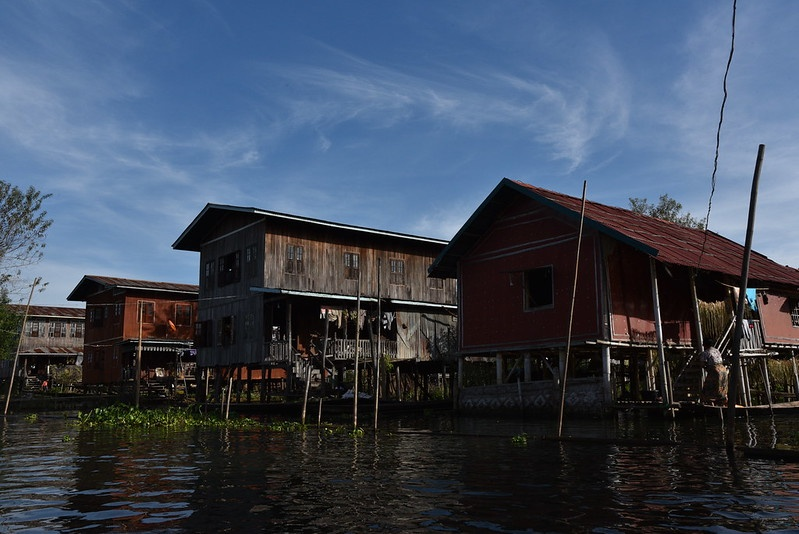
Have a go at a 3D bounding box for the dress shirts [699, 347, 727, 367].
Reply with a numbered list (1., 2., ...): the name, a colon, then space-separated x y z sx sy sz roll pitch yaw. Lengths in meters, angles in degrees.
1. dress shirts: 11.515 3.311 19.209 0.631 0.697 0.790 -8 -5 3

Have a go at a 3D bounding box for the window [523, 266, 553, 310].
1. window: 6.154 0.958 23.341 1.809 2.251 0.143 -2 3 -28

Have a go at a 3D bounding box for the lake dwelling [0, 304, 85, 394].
1. lake dwelling: -34.679 7.969 50.476 8.136 8.188 7.445 9 -21 -43

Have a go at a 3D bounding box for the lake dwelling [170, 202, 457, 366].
1. lake dwelling: -4.078 0.693 32.532 14.192 7.657 10.227 9 -15 -39

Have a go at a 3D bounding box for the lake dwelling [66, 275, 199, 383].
1. lake dwelling: -21.716 5.288 43.236 8.746 6.389 8.672 -9 -12 39
